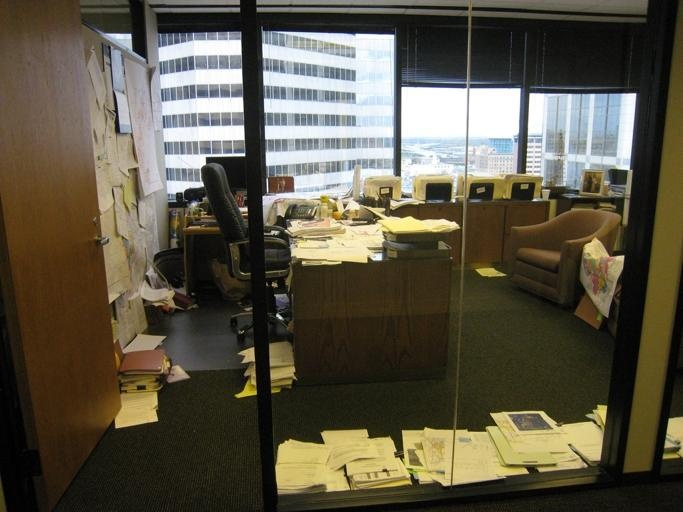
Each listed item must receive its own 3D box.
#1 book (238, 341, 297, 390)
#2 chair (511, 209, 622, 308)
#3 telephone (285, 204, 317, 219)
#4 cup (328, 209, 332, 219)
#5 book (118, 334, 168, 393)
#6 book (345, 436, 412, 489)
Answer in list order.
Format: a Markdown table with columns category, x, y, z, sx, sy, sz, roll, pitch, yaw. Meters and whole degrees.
| category | x | y | z | sx | sy | sz | roll | pitch | yaw |
| --- | --- | --- | --- | --- | --- | --- | --- | --- | --- |
| book | -0.389 | 0.615 | 3.029 | 0.337 | 0.112 | 0.353 | 1 | 16 | -12 |
| chair | 1.833 | -0.040 | 4.826 | 0.838 | 0.927 | 0.727 | -1 | 9 | -25 |
| telephone | -0.326 | -0.363 | 4.590 | 0.200 | 0.064 | 0.165 | -1 | 53 | 14 |
| cup | -0.081 | -0.327 | 4.263 | 0.049 | 0.061 | 0.051 | 2 | 1 | 0 |
| book | -1.240 | 0.714 | 3.378 | 0.291 | 0.113 | 0.232 | -1 | 27 | 0 |
| book | 0.165 | 1.026 | 2.701 | 0.295 | 0.061 | 0.286 | -3 | 15 | -9 |
